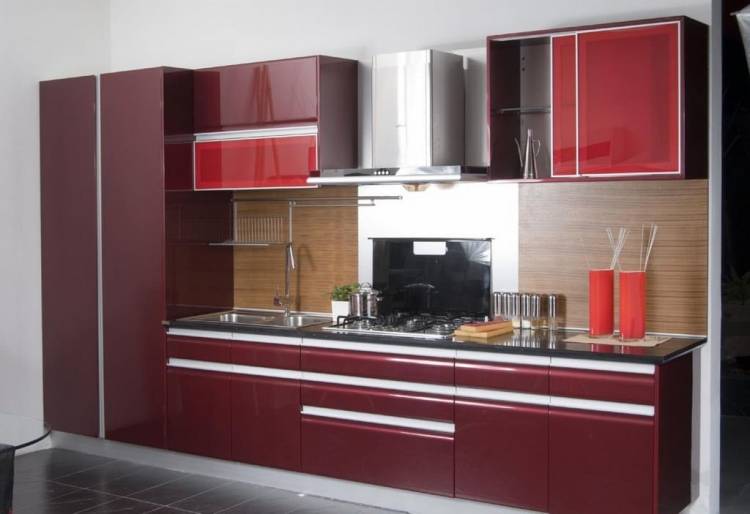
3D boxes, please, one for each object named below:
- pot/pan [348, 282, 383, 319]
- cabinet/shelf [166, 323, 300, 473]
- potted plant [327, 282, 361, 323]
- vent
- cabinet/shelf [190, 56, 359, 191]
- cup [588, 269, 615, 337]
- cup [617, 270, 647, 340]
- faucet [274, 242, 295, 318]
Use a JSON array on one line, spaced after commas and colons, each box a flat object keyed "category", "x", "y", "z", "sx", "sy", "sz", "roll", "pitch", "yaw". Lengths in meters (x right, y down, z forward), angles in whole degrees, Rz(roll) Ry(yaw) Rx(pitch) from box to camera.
[{"category": "pot/pan", "x": -0.051, "y": 0.329, "z": 4.661, "sx": 0.333, "sy": 0.270, "sz": 0.230, "roll": -1, "pitch": -3, "yaw": 33}, {"category": "cabinet/shelf", "x": -0.915, "y": 1.051, "z": 4.866, "sx": 1.382, "sy": 0.983, "sz": 0.701, "roll": 0, "pitch": 0, "yaw": 27}, {"category": "potted plant", "x": -0.237, "y": 0.346, "z": 4.834, "sx": 0.341, "sy": 0.330, "sz": 0.250, "roll": 0, "pitch": -3, "yaw": 10}, {"category": "vent", "x": 0.236, "y": -1.013, "z": 4.433, "sx": 1.378, "sy": 0.914, "sz": 0.833, "roll": 5, "pitch": 8, "yaw": 35}, {"category": "cabinet/shelf", "x": -0.738, "y": -1.033, "z": 4.690, "sx": 1.112, "sy": 0.804, "sz": 0.422, "roll": -1, "pitch": -2, "yaw": 27}, {"category": "cup", "x": 1.499, "y": 0.295, "z": 3.969, "sx": 0.229, "sy": 0.429, "sz": 0.110, "roll": -4, "pitch": 3, "yaw": -41}, {"category": "cup", "x": 1.645, "y": 0.303, "z": 3.892, "sx": 0.155, "sy": 0.423, "sz": 0.225, "roll": -1, "pitch": 2, "yaw": 21}, {"category": "faucet", "x": -0.742, "y": 0.180, "z": 5.041, "sx": 0.177, "sy": 0.616, "sz": 0.303, "roll": -3, "pitch": 2, "yaw": -6}]
